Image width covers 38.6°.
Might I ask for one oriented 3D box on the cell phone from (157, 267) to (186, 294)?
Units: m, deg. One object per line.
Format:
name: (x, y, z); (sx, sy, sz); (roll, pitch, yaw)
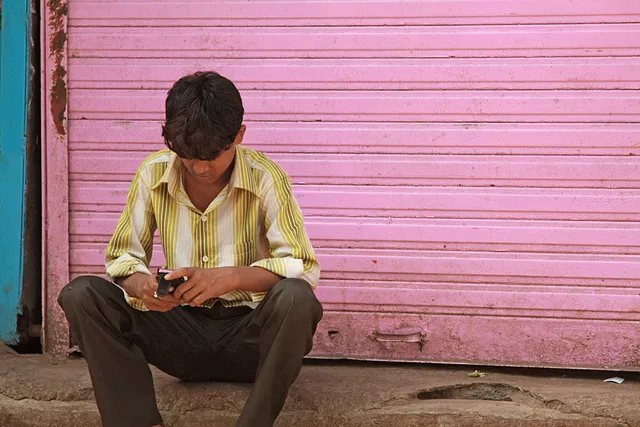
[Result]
cell phone: (-0.942, 0.445, 5.736); (0.187, 0.160, 0.105); (3, 2, -6)
